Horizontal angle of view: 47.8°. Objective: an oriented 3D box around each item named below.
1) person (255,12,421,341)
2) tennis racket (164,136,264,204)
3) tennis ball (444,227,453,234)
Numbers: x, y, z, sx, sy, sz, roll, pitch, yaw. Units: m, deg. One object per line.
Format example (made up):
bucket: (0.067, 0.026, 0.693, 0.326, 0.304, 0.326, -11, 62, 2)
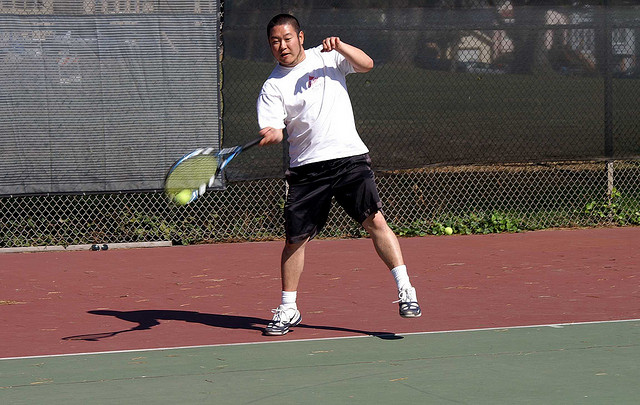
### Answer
person: (0.075, -0.216, 5.907, 1.159, 2.625, 0.472, -1, 7, -3)
tennis racket: (-0.936, -0.235, 5.775, 0.600, 0.401, 0.291, -1, 7, -9)
tennis ball: (1.684, 0.376, 9.461, 0.102, 0.070, 0.082, 4, 12, -37)
